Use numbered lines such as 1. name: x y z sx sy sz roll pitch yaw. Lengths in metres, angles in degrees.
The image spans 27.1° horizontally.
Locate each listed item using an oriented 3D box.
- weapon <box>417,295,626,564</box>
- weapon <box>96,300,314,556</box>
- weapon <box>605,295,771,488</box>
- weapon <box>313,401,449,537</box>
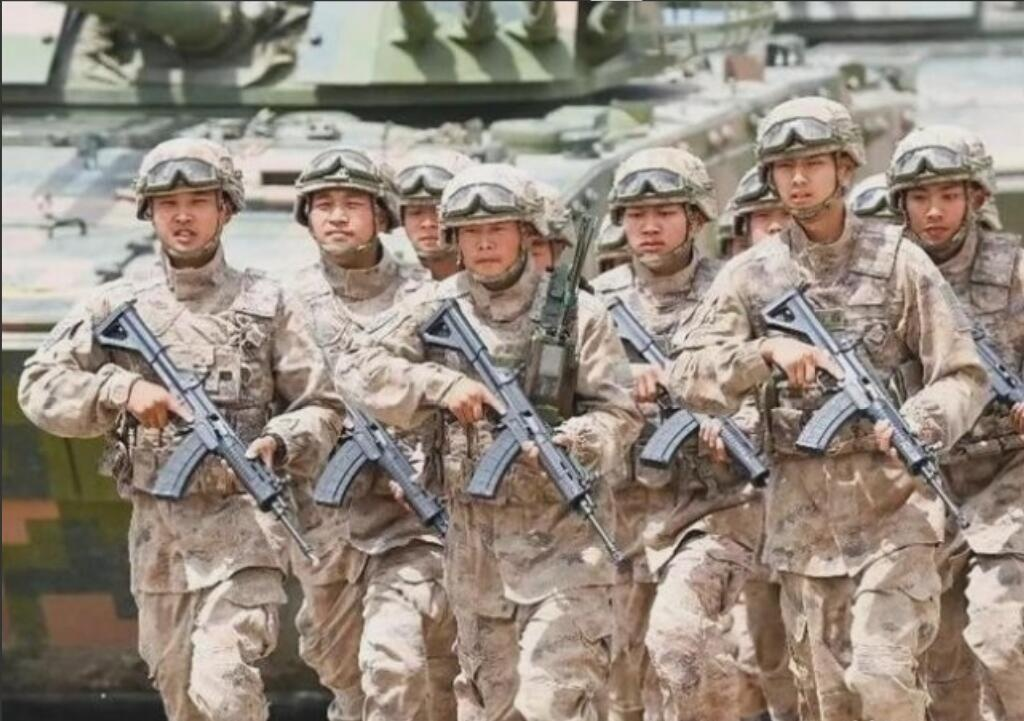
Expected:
1. weapon: 0.074 0.365 12.235 0.686 1.739 0.189 -37 -14 5
2. weapon: -1.828 0.363 12.646 0.674 1.713 0.220 -38 -2 -3
3. weapon: 1.130 0.475 13.193 0.110 1.418 0.504 -4 -59 -36
4. weapon: -0.784 0.651 12.927 0.360 0.902 0.105 -28 -31 -28
